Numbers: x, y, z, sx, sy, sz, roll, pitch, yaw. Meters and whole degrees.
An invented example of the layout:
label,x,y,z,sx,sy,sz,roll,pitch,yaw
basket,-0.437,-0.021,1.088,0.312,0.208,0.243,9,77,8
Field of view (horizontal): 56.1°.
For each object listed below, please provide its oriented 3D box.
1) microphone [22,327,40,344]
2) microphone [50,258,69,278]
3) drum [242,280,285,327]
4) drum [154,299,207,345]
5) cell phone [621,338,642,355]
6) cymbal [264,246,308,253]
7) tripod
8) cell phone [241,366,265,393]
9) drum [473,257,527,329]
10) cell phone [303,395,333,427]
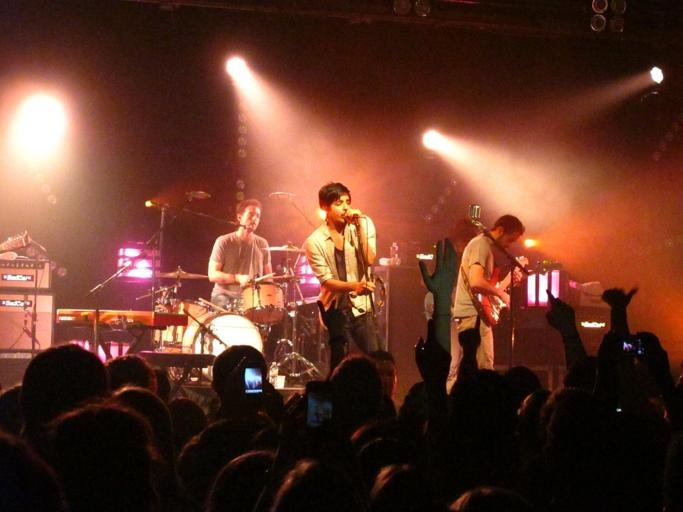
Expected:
label,x,y,z,sx,sy,sz,roll,pitch,yaw
microphone,-5.170,1.339,10.694,0.132,0.423,0.058,-28,-3,-2
microphone,-5.273,0.279,11.992,0.240,0.227,0.535,17,11,-39
drum,-1.241,0.660,10.040,0.624,0.461,0.653,-6,-36,-5
drum,-2.398,1.018,9.776,0.722,0.771,0.745,-1,-7,38
cell phone,1.957,0.616,4.351,0.097,0.124,0.180,-6,-10,41
cymbal,-0.885,-0.113,10.873,0.329,0.084,0.342,3,2,27
tripod,-0.664,1.391,10.823,1.107,1.168,1.120,9,-11,-40
cell phone,-0.624,0.863,4.446,0.169,0.234,0.023,4,-19,-25
drum,1.816,0.400,7.873,0.298,0.808,0.948,-2,18,24
cell phone,-0.133,0.863,3.545,0.149,0.218,0.022,5,-6,-16
